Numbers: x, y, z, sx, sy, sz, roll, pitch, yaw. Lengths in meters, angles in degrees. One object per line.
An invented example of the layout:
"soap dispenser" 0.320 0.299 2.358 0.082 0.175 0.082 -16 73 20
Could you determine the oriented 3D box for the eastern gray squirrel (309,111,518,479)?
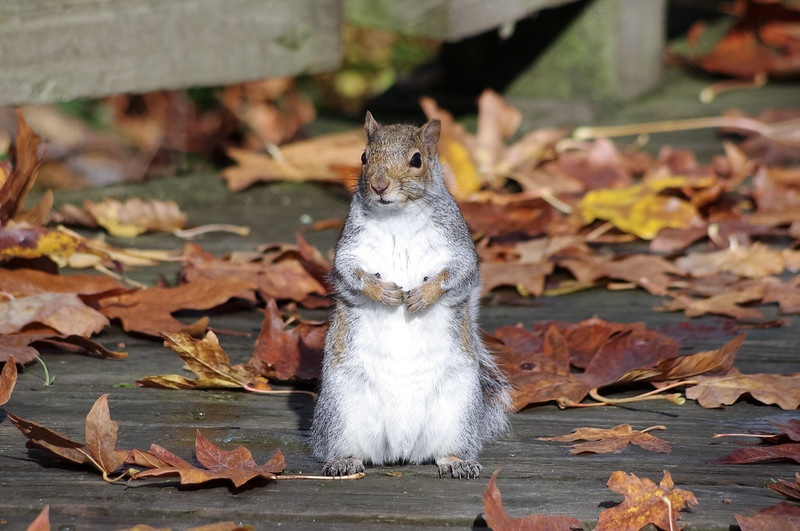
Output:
"eastern gray squirrel" 0.009 0.199 6.607 1.402 1.732 1.344 1 5 0
